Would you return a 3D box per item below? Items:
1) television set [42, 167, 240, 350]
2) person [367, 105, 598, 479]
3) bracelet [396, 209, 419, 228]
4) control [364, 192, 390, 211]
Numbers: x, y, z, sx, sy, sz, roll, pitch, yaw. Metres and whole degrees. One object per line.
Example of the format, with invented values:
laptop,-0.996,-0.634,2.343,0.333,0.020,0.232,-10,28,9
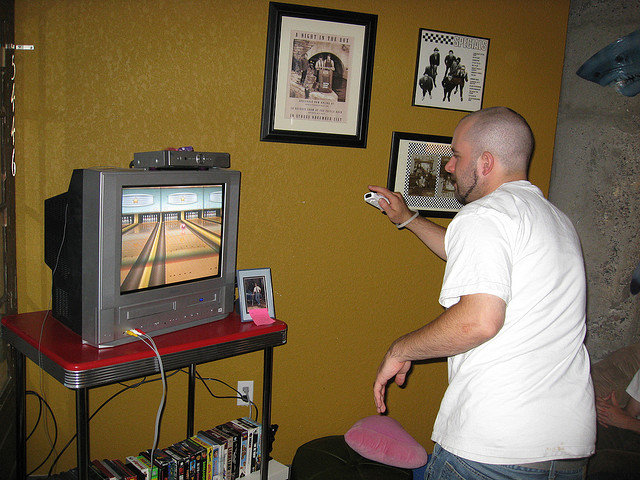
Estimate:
television set,-0.881,0.037,2.630,0.719,0.756,0.734,7,9,36
person,0.658,0.207,2.005,0.752,1.420,0.464,7,8,25
bracelet,0.464,-0.106,2.895,0.101,0.093,0.091,5,7,12
control,0.298,-0.215,2.877,0.124,0.074,0.036,15,-9,-32
